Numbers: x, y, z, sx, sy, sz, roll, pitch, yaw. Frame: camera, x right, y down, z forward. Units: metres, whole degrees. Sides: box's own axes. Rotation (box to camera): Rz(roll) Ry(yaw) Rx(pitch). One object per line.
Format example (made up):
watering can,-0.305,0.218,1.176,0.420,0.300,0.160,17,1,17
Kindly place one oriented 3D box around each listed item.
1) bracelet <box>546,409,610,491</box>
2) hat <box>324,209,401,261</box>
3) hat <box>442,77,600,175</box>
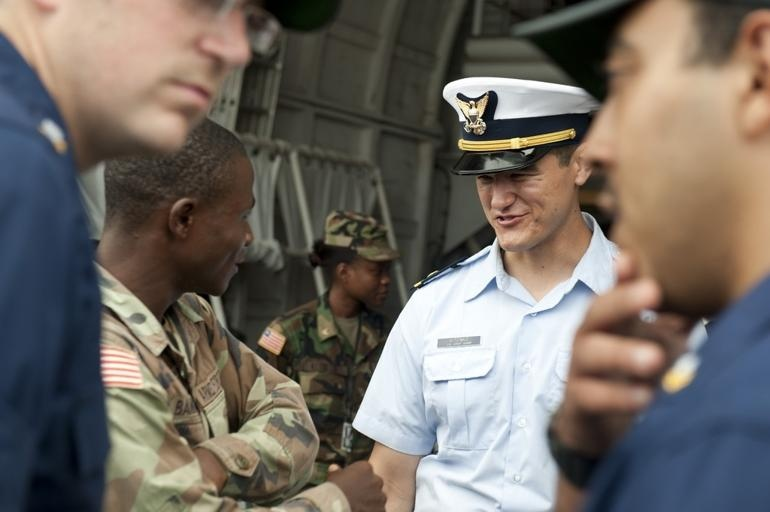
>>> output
bracelet,0.392,0.399,1.920,0.094,0.127,0.106,-25,43,-7
hat,-0.135,-0.128,5.273,0.478,0.198,0.346,12,13,17
hat,0.478,-0.483,3.376,0.575,0.330,0.567,-3,11,0
